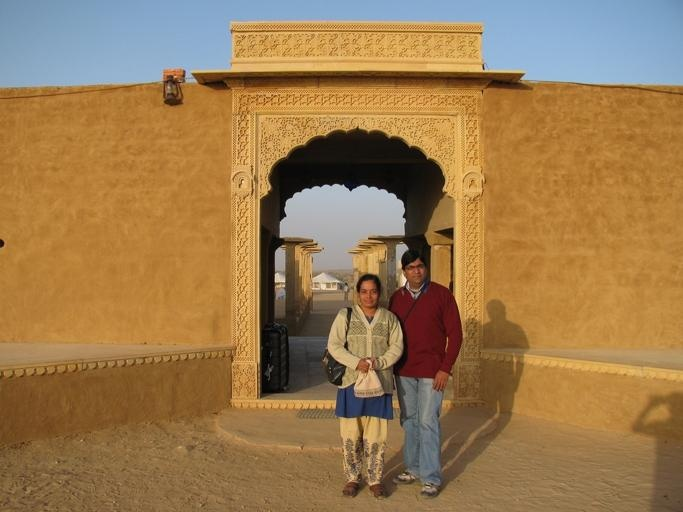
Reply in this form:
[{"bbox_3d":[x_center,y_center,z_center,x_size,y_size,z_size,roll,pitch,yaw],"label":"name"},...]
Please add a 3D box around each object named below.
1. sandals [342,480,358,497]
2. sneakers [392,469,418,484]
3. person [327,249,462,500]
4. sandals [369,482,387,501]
[{"bbox_3d":[0.089,2.468,7.743,0.114,0.121,0.279,0,-13,0],"label":"sandals"},{"bbox_3d":[0.687,2.418,8.014,0.248,0.105,0.110,3,5,-1],"label":"sneakers"},{"bbox_3d":[0.561,1.233,7.783,1.374,2.581,0.769,1,10,8],"label":"person"},{"bbox_3d":[0.387,2.459,7.650,0.105,0.144,0.204,1,-22,-4],"label":"sandals"}]
